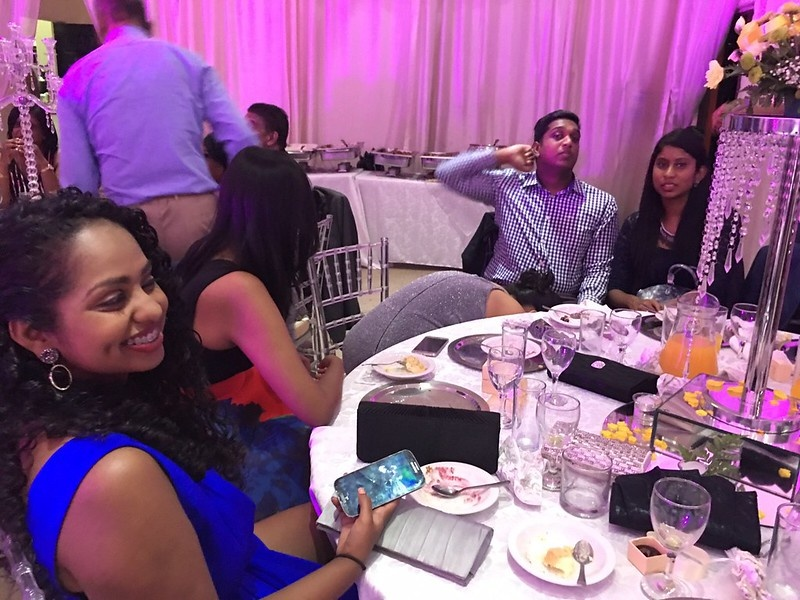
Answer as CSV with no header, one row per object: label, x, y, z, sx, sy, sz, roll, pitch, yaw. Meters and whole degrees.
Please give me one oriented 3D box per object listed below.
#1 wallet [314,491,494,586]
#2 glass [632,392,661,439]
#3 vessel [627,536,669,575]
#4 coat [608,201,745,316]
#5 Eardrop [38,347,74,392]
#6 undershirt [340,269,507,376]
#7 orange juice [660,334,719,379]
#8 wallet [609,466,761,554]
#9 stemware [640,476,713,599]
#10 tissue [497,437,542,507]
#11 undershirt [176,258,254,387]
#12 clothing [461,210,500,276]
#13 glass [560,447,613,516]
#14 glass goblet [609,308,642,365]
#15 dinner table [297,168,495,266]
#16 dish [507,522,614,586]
wallet,0.053,0.457,1.084,0.246,0.037,0.136,14,48,26
glass,0.623,0.291,1.423,0.084,0.117,0.085,2,1,6
vessel,0.462,0.473,1.046,0.052,0.038,0.057,-7,21,-20
coat,1.290,-0.184,2.593,0.450,0.516,0.265,18,17,34
Eardrop,-0.644,0.127,1.040,0.051,0.083,0.010,-28,14,-30
undershirt,0.086,0.070,2.280,0.570,0.192,0.332,-32,15,-19
orange juice,0.798,0.153,1.542,0.118,0.091,0.125,-3,17,-2
wallet,0.564,0.405,1.107,0.193,0.063,0.173,6,37,11
stemware,0.506,0.439,1.017,0.108,0.209,0.102,-18,27,-26
tissue,0.273,0.395,1.257,0.069,0.054,0.141,9,2,6
undershirt,-0.524,0.046,1.569,0.167,0.334,0.228,-30,35,-22
clothing,0.499,-0.352,3.487,0.125,0.379,0.283,9,22,-5
glass,0.395,0.389,1.225,0.103,0.135,0.120,0,11,0
glass goblet,0.710,0.119,1.763,0.076,0.171,0.079,-13,28,-8
dinner table,0.087,-0.695,4.724,1.224,0.664,0.853,8,29,11
dish,0.305,0.476,1.041,0.109,0.028,0.112,-13,29,-19
